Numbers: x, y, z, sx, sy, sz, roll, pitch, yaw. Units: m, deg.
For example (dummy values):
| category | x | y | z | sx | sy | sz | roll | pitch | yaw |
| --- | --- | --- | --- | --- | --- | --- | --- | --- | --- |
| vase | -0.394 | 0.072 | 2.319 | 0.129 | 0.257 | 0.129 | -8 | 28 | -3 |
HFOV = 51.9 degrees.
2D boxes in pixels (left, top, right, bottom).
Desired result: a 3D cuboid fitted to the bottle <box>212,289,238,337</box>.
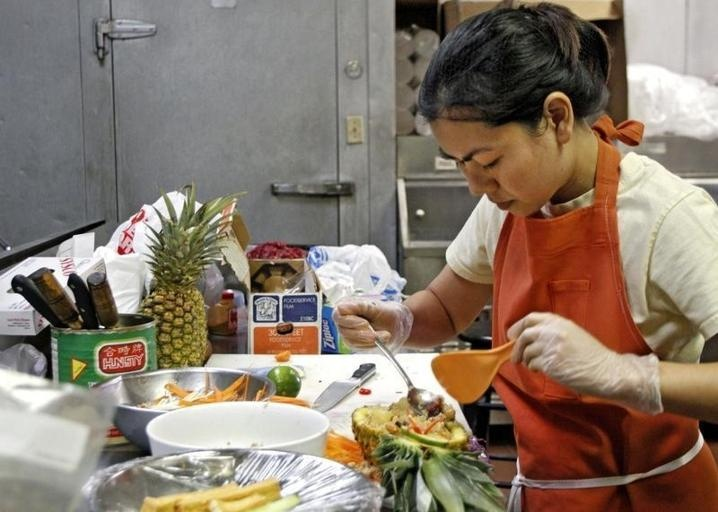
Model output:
| category | x | y | z | sx | sy | sz | roll | pitch | yaw |
| --- | --- | --- | --- | --- | --- | --- | --- | --- | --- |
| bottle | -0.505 | 0.225 | 2.751 | 0.091 | 0.172 | 0.159 | 2 | 9 | -13 |

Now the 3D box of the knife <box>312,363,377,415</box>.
| category | x | y | z | sx | sy | sz | roll | pitch | yaw |
| --- | --- | --- | --- | --- | --- | --- | --- | --- | --- |
| knife | -0.046 | 0.385 | 2.210 | 0.063 | 0.026 | 0.289 | 5 | 13 | 18 |

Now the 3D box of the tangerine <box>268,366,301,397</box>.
| category | x | y | z | sx | sy | sz | roll | pitch | yaw |
| --- | --- | --- | --- | --- | --- | --- | --- | --- | --- |
| tangerine | -0.211 | 0.362 | 2.130 | 0.079 | 0.102 | 0.089 | -4 | 46 | 21 |

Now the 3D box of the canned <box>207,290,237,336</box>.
| category | x | y | z | sx | sy | sz | roll | pitch | yaw |
| --- | --- | --- | --- | --- | --- | --- | --- | --- | --- |
| canned | -0.519 | 0.196 | 2.776 | 0.102 | 0.118 | 0.078 | 1 | -2 | -14 |
